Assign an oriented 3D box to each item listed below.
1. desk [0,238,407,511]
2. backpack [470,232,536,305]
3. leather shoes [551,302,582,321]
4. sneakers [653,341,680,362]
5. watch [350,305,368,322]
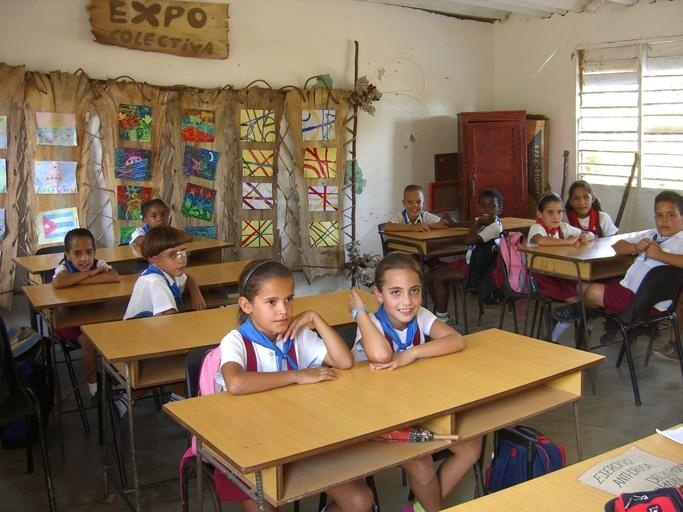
[{"bbox_3d":[-0.987,0.785,3.062,1.654,0.803,1.233,-6,10,-38],"label":"desk"},{"bbox_3d":[1.225,0.084,4.269,0.408,0.569,0.537,-6,13,-27],"label":"backpack"},{"bbox_3d":[1.631,0.397,3.886,0.088,0.125,0.184,-1,9,-23],"label":"leather shoes"},{"bbox_3d":[2.439,0.718,4.102,0.095,0.131,0.191,4,3,-30],"label":"sneakers"},{"bbox_3d":[0.070,0.233,2.204,0.063,0.027,0.050,23,10,38],"label":"watch"}]
